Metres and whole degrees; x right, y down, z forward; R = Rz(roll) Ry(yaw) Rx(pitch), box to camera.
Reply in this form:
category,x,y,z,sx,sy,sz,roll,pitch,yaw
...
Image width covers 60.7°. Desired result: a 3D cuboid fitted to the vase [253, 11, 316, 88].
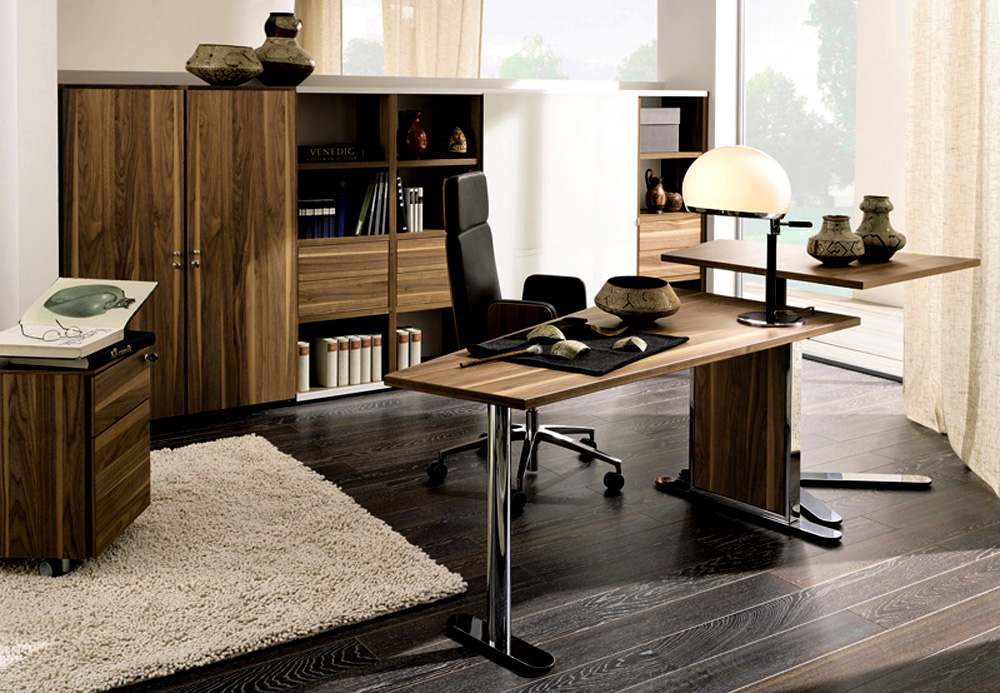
category,x,y,z,sx,sy,sz,roll,pitch,yaw
vase,-1.358,-1.829,5.266,0.337,0.464,0.273,-7,15,-19

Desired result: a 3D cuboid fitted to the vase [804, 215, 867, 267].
category,x,y,z,sx,sy,sz,roll,pitch,yaw
vase,1.535,-0.469,3.811,0.311,0.201,0.295,7,14,36

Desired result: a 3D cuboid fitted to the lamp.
category,x,y,z,sx,sy,sz,roll,pitch,yaw
lamp,0.974,-0.459,3.542,0.779,0.646,0.478,4,3,-1

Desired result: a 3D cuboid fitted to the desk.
category,x,y,z,sx,sy,sz,roll,pitch,yaw
desk,0.853,0.538,3.912,2.517,0.828,1.041,-7,11,-41
